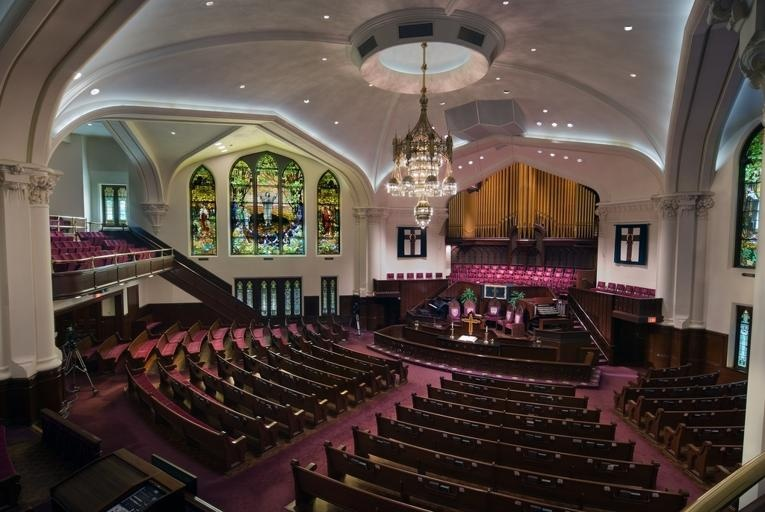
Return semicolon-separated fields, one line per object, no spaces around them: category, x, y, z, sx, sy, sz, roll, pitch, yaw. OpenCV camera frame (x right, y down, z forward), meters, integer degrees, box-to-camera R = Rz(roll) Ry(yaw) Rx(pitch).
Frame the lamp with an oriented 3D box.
lamp;1.181;-3.503;14.299;1.861;5.019;1.854;-7;12;-36
